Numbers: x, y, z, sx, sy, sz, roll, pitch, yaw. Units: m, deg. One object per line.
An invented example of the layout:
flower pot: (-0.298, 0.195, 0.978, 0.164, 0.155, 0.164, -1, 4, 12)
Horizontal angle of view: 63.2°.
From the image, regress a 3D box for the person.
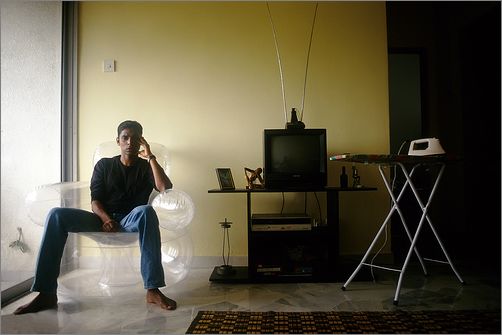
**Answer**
person: (-1.306, 0.344, 3.582, 1.157, 1.647, 0.960, 3, -10, -21)

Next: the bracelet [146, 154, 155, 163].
bracelet: (-0.935, -0.088, 3.783, 0.066, 0.040, 0.062, -12, -9, 33)

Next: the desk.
desk: (1.223, 0.475, 4.169, 1.466, 1.541, 1.019, 4, -5, -35)

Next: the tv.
tv: (0.411, -0.061, 4.185, 0.756, 0.701, 0.540, -1, -5, 2)

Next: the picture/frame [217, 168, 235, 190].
picture/frame: (-0.261, 0.114, 4.023, 0.024, 0.215, 0.208, -25, -9, 32)

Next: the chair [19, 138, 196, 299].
chair: (-1.148, 0.462, 3.649, 1.207, 1.133, 1.110, 0, -6, 1)
